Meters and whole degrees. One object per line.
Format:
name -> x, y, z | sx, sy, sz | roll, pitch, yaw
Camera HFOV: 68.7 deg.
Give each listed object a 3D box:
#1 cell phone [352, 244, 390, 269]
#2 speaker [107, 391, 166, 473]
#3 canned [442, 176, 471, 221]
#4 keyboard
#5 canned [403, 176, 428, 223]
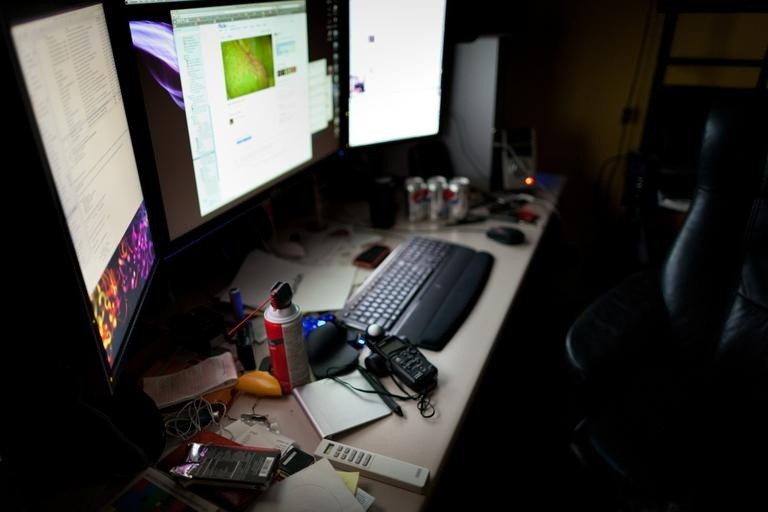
cell phone -> -0.041, -0.016, 1.718 | 0.062, 0.024, 0.097 | 6, 34, 31
speaker -> -0.550, 0.352, 1.235 | 0.045, 0.140, 0.194 | -50, 23, -3
canned -> 0.248, -0.197, 1.915 | 0.106, 0.146, 0.085 | 8, 15, 40
keyboard -> 0.104, 0.081, 1.590 | 0.342, 0.062, 0.449 | 8, 40, 21
canned -> 0.103, -0.200, 1.920 | 0.091, 0.145, 0.085 | -16, 18, -35
